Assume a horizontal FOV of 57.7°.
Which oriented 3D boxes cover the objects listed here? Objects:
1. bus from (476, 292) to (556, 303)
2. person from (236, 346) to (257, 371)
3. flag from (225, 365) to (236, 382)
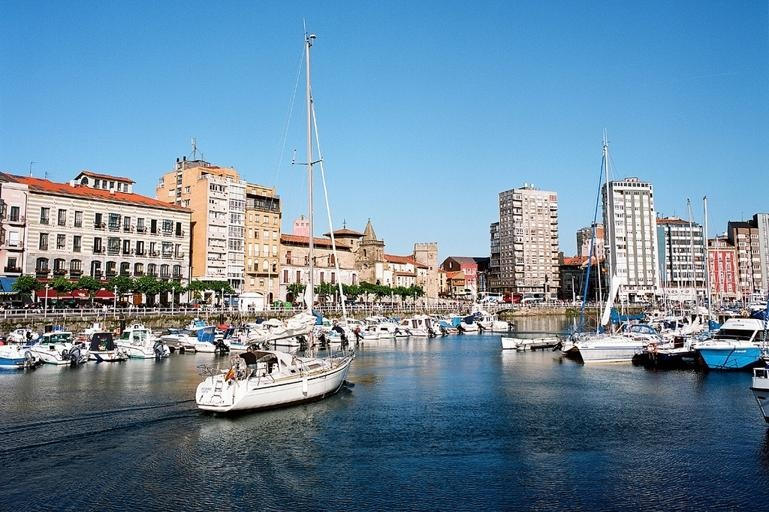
[{"bbox_3d":[37.201,12.146,196.180,18.311,2.663,1.734,1,-18,-18],"label":"bus"},{"bbox_3d":[-9.217,7.109,47.579,0.987,1.382,0.412,5,11,31],"label":"person"},{"bbox_3d":[-10.372,7.966,46.962,0.698,0.964,0.708,0,2,-12],"label":"flag"}]
